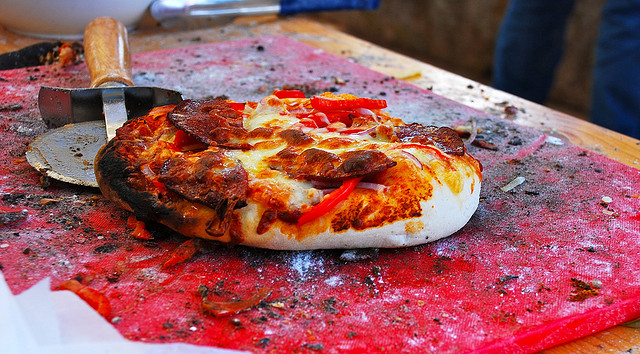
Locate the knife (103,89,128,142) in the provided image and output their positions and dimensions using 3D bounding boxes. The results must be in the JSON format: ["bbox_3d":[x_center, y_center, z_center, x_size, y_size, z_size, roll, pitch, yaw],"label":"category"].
[{"bbox_3d":[-0.700,-0.228,1.885,0.064,0.033,0.339,1,32,-11],"label":"knife"}]

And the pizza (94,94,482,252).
[{"bbox_3d":[-0.121,-0.018,1.642,0.814,0.149,0.643,11,27,8],"label":"pizza"}]
